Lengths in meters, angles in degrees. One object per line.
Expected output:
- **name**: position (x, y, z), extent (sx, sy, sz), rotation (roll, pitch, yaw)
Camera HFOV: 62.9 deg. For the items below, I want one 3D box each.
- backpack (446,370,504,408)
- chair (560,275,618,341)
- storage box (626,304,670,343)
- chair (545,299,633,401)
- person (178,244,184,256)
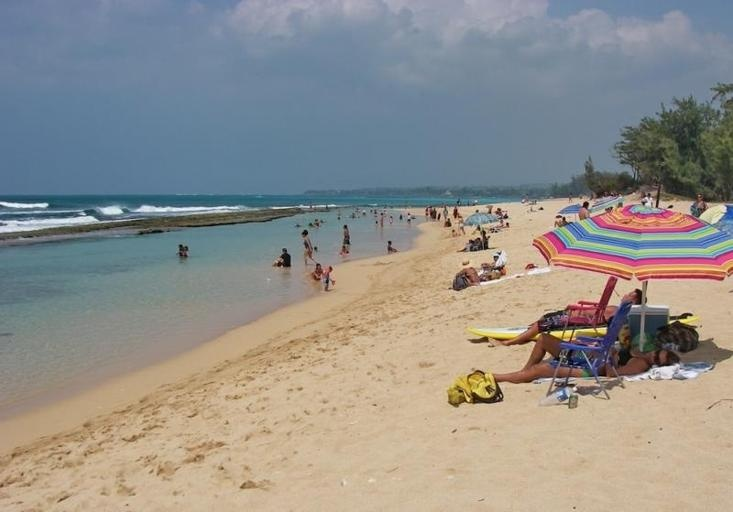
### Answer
- **backpack**: position (1.987, 2.482, 11.684), extent (0.930, 0.371, 1.123), rotation (-4, -15, -8)
- **chair**: position (4.448, 1.100, 12.249), extent (1.079, 1.286, 0.995), rotation (1, -2, 5)
- **storage box**: position (5.715, 1.404, 12.212), extent (1.030, 0.662, 0.991), rotation (3, -5, -15)
- **chair**: position (4.182, 1.777, 11.853), extent (1.890, 2.226, 1.581), rotation (0, -1, 16)
- **person**: position (-10.017, -0.293, 32.471), extent (0.279, 0.738, 0.929), rotation (-8, 13, -19)
